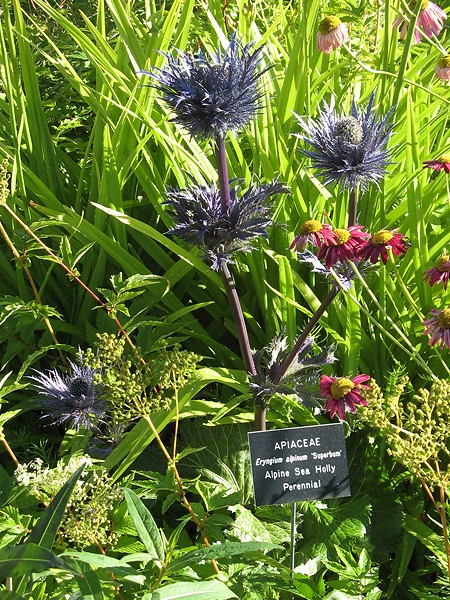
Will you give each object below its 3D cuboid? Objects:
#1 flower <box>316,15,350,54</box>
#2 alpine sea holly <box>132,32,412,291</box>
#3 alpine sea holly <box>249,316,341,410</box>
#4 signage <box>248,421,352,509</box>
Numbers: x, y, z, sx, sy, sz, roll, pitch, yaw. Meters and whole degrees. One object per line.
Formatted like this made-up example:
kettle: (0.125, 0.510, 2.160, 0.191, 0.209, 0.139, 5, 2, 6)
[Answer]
flower: (0.223, -0.610, 1.219, 0.079, 0.073, 0.032, 3, 68, 30)
alpine sea holly: (0.065, -0.225, 0.880, 0.398, 0.240, 0.340, -10, 27, -4)
alpine sea holly: (0.126, 0.106, 0.969, 0.157, 0.154, 0.082, 25, 91, 20)
signage: (0.099, 0.259, 0.851, 0.012, 0.149, 0.112, -19, 69, 41)
